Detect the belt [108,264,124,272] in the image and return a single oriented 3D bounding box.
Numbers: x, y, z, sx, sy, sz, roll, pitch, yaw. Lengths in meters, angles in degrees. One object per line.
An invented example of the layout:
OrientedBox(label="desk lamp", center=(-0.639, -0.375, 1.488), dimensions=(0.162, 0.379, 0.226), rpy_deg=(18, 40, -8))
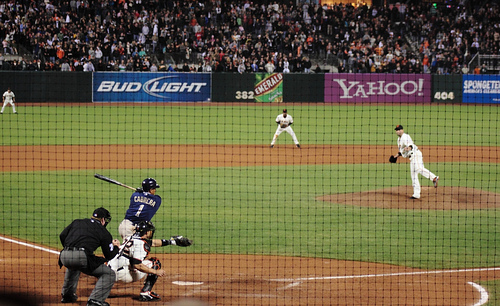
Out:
OrientedBox(label="belt", center=(-6.240, 5.468, 42.312), dimensions=(0.354, 0.310, 0.271), rpy_deg=(12, 1, 8))

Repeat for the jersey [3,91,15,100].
OrientedBox(label="jersey", center=(-17.124, -4.077, 64.136), dimensions=(0.999, 0.792, 0.426), rpy_deg=(0, 2, -10))

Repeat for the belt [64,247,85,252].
OrientedBox(label="belt", center=(-8.153, 4.517, 41.935), dimensions=(0.854, 0.156, 0.182), rpy_deg=(0, 2, 12))

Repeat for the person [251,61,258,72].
OrientedBox(label="person", center=(0.340, -6.853, 71.412), dimensions=(0.703, 0.993, 0.271), rpy_deg=(-3, -2, -2))

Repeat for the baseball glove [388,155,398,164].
OrientedBox(label="baseball glove", center=(7.842, 0.390, 49.532), dimensions=(0.395, 0.336, 0.320), rpy_deg=(-1, 7, -8))

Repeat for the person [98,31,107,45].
OrientedBox(label="person", center=(-11.829, -9.316, 72.233), dimensions=(0.721, 0.979, 0.481), rpy_deg=(0, 2, -1))

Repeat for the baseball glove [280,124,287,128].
OrientedBox(label="baseball glove", center=(2.199, -1.745, 58.386), dimensions=(0.379, 0.224, 0.122), rpy_deg=(0, 2, 2))

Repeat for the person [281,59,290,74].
OrientedBox(label="person", center=(2.784, -6.967, 71.400), dimensions=(0.487, 1.017, 0.821), rpy_deg=(2, 3, 34))

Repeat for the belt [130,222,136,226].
OrientedBox(label="belt", center=(-5.638, 3.457, 43.284), dimensions=(0.209, 0.165, 0.040), rpy_deg=(0, 2, -7))

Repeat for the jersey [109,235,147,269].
OrientedBox(label="jersey", center=(-5.667, 4.719, 42.293), dimensions=(1.672, 1.545, 0.237), rpy_deg=(0, 2, 5))

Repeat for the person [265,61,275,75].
OrientedBox(label="person", center=(1.535, -6.872, 71.207), dimensions=(0.699, 0.853, 0.668), rpy_deg=(0, 2, 8))

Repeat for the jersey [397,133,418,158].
OrientedBox(label="jersey", center=(8.895, -0.368, 51.171), dimensions=(0.592, 0.872, 1.415), rpy_deg=(3, 29, -12))
